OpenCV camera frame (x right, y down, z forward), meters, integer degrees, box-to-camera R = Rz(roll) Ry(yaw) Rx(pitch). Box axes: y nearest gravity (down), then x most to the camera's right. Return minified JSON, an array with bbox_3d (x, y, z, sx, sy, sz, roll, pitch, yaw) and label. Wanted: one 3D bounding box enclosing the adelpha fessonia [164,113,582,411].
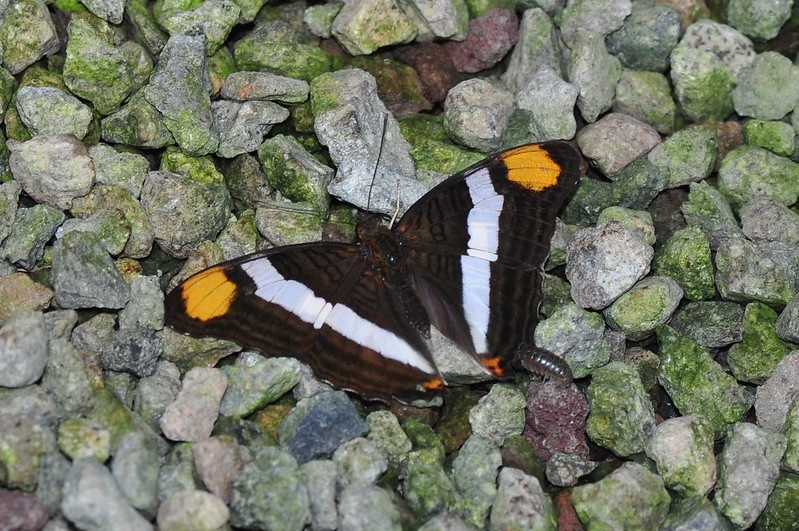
[{"bbox_3d":[0.107,0.248,5.964,3.101,0.516,1.543,-22,86,-1],"label":"adelpha fessonia"}]
